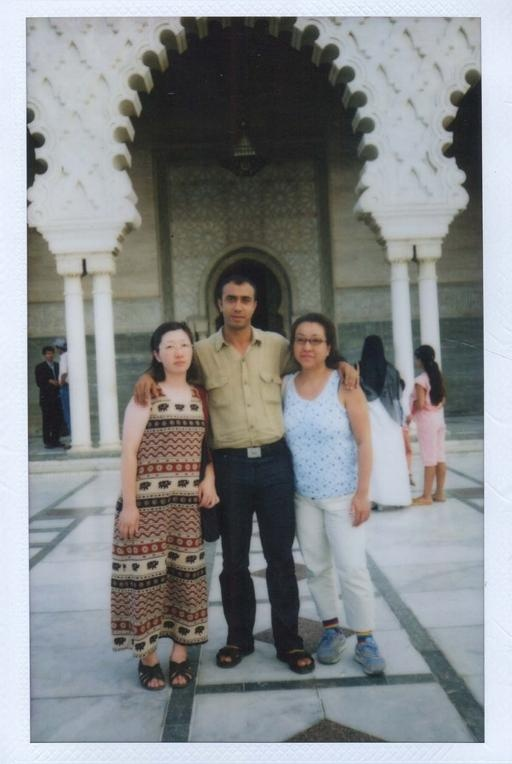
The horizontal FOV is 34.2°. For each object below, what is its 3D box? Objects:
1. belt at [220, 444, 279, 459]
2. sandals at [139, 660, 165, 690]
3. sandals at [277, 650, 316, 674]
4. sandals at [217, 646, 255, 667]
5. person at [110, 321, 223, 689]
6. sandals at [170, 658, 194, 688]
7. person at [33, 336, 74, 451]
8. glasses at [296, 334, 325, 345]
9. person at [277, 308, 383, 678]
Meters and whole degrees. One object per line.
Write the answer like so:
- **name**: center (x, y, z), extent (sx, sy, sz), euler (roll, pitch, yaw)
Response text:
- **belt**: center (-0.035, 0.274, 3.361), extent (0.227, 0.052, 0.045), euler (-3, 13, 3)
- **sandals**: center (-0.406, 1.126, 3.205), extent (0.098, 0.081, 0.109), euler (-5, 13, -7)
- **sandals**: center (0.167, 1.099, 3.275), extent (0.066, 0.042, 0.129), euler (-1, -6, -24)
- **sandals**: center (-0.101, 1.105, 3.350), extent (0.057, 0.044, 0.151), euler (-5, -11, 24)
- **person**: center (-0.362, 0.464, 3.212), extent (0.321, 1.362, 0.514), euler (3, 15, 29)
- **sandals**: center (-0.298, 1.117, 3.208), extent (0.088, 0.084, 0.103), euler (-6, 13, -9)
- **person**: center (-1.659, 0.124, 6.716), extent (0.198, 0.850, 0.685), euler (-7, 13, -13)
- **glasses**: center (0.206, -0.172, 3.283), extent (0.107, 0.037, 0.027), euler (-2, 13, 9)
- **person**: center (0.300, 0.421, 3.295), extent (0.330, 1.372, 0.538), euler (-5, 13, -2)
